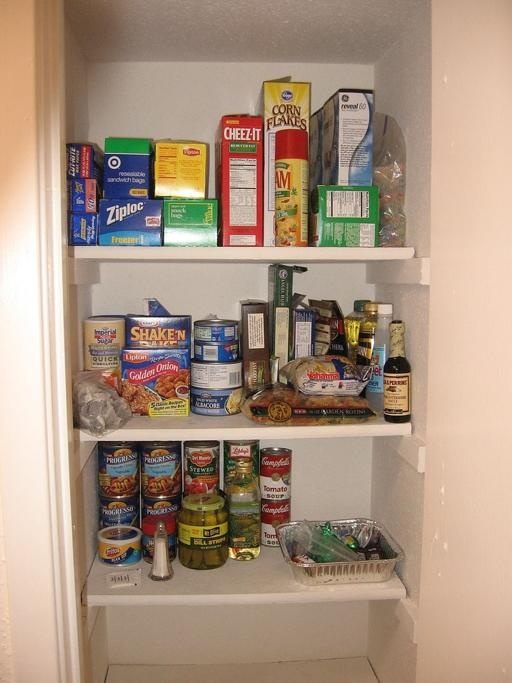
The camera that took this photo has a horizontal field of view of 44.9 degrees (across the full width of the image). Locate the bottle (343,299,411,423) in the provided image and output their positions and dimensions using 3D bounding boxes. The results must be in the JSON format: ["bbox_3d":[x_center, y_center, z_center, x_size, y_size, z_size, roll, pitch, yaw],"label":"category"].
[{"bbox_3d":[0.242,0.034,1.255,0.113,0.221,0.202,-2,8,3],"label":"bottle"}]

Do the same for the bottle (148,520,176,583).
[{"bbox_3d":[-0.194,0.409,1.242,0.045,0.114,0.077,-4,9,-11],"label":"bottle"}]

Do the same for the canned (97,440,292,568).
[{"bbox_3d":[-0.140,0.340,1.292,0.278,0.171,0.076,-1,9,-2],"label":"canned"}]

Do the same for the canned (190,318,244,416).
[{"bbox_3d":[-0.083,0.049,1.262,0.109,0.191,0.097,-3,8,-5],"label":"canned"}]
